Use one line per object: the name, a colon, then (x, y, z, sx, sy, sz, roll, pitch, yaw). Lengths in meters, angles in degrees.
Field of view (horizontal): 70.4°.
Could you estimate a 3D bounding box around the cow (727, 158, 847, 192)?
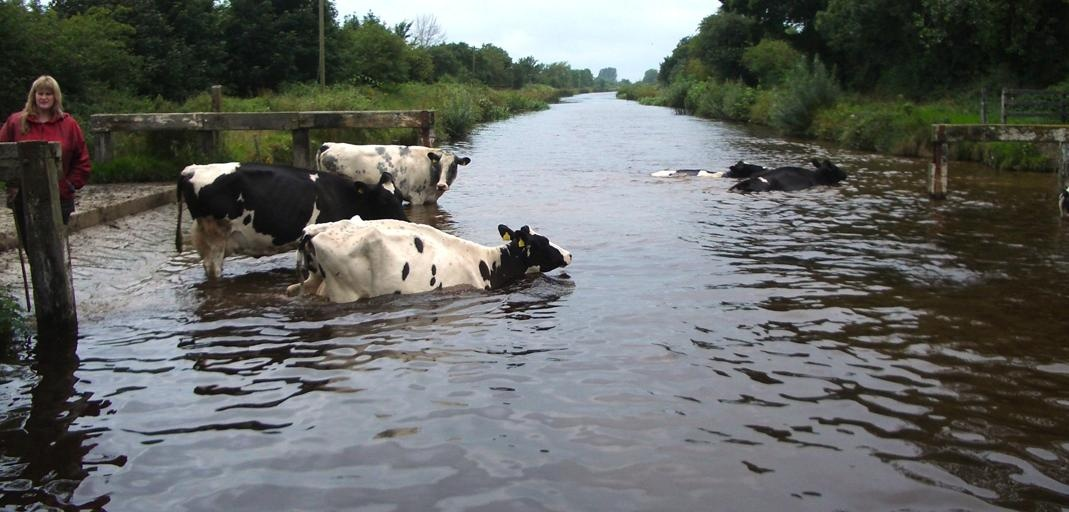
cow: (9.096, -2.844, 26.651, 4.237, 0.954, 1.308, -5, 15, -24)
